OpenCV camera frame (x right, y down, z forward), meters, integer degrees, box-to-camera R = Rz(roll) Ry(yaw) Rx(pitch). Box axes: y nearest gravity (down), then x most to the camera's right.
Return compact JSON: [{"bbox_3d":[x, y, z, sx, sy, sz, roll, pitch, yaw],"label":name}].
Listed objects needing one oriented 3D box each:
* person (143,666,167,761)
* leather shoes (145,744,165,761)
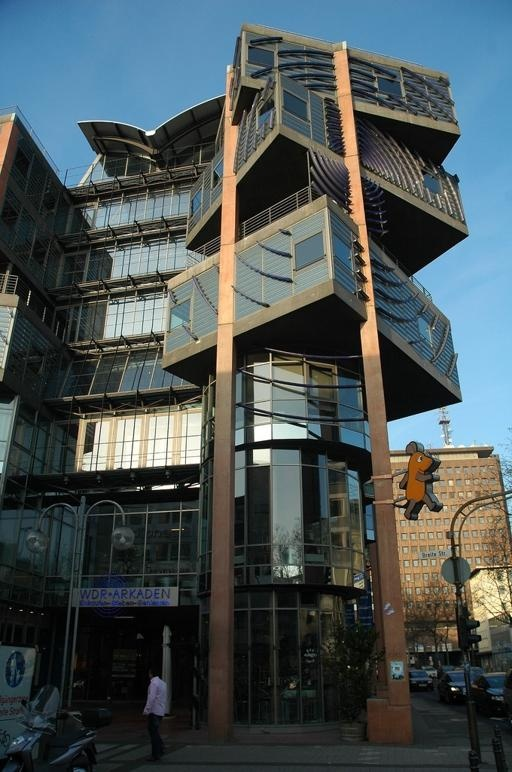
[{"bbox_3d":[-1.948,6.378,10.908,0.377,1.541,1.099,2,-22,-9],"label":"person"},{"bbox_3d":[-1.919,7.064,10.851,0.201,0.241,0.552,-15,-26,30],"label":"leather shoes"}]
